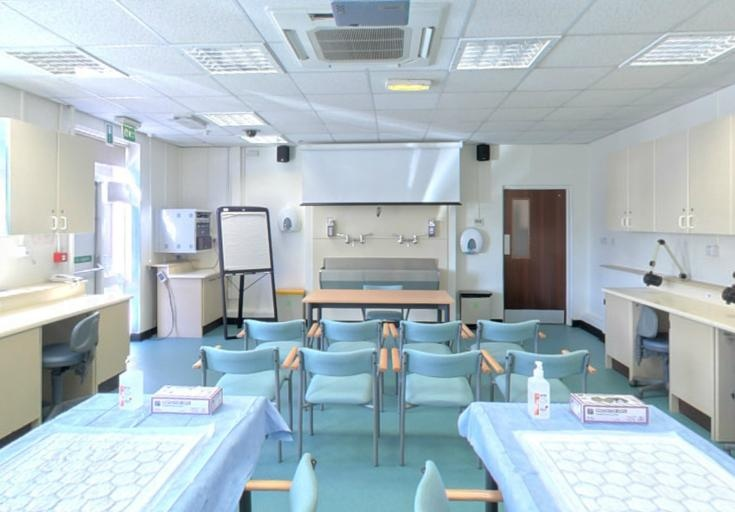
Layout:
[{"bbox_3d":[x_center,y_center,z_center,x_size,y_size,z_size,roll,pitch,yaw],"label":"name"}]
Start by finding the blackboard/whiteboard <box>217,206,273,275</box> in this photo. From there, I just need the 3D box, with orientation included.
[{"bbox_3d":[-1.914,-0.240,7.807,1.050,1.219,0.206,-2,3,-19],"label":"blackboard/whiteboard"}]

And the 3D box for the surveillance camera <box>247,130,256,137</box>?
[{"bbox_3d":[-1.663,-1.768,7.276,0.109,0.093,0.089,-10,-1,26],"label":"surveillance camera"}]

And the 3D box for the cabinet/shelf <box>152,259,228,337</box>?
[{"bbox_3d":[-2.792,0.704,8.202,0.952,1.179,1.749,-1,1,-5],"label":"cabinet/shelf"}]

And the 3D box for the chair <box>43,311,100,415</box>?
[{"bbox_3d":[-3.047,1.072,5.011,0.652,0.921,0.593,1,3,-3],"label":"chair"}]

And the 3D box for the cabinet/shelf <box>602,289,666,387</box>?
[{"bbox_3d":[3.076,0.939,5.752,0.573,0.982,1.087,0,1,4],"label":"cabinet/shelf"}]

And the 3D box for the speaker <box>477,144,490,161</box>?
[{"bbox_3d":[1.868,-1.654,8.073,0.240,0.284,0.122,1,12,2],"label":"speaker"}]

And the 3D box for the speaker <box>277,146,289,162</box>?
[{"bbox_3d":[-1.356,-1.685,8.309,0.246,0.274,0.200,1,3,12],"label":"speaker"}]

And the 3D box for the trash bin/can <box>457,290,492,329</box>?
[{"bbox_3d":[1.772,0.831,8.211,0.528,0.484,0.415,-1,6,5],"label":"trash bin/can"}]
